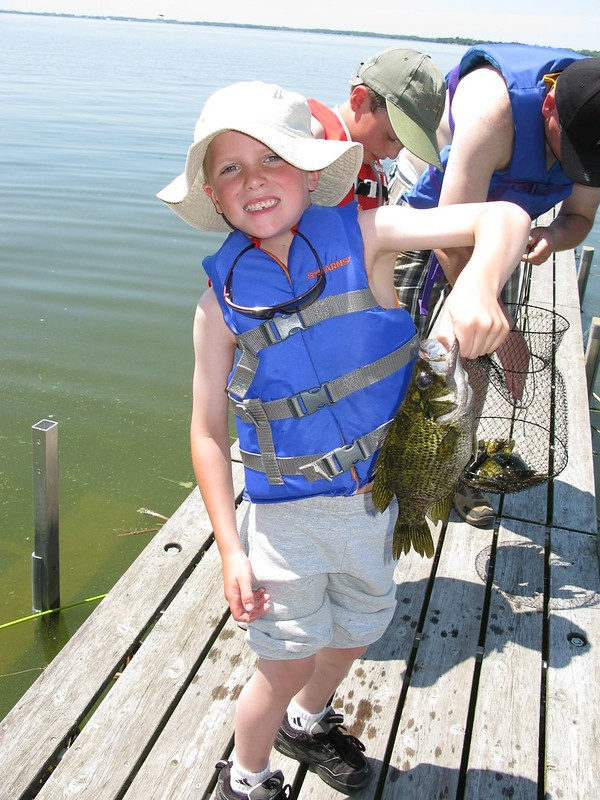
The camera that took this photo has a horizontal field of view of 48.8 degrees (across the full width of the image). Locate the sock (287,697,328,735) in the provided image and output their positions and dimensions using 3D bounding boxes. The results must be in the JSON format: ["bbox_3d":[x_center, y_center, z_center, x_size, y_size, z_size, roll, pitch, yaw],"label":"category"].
[{"bbox_3d":[0.017,1.002,2.135,0.118,0.091,0.130,-4,31,3],"label":"sock"}]

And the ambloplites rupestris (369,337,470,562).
[{"bbox_3d":[0.312,0.155,1.598,0.266,0.498,0.137,9,15,0],"label":"ambloplites rupestris"}]

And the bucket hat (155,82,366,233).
[{"bbox_3d":[-0.122,-0.628,1.738,0.555,0.375,0.511,-2,19,10],"label":"bucket hat"}]

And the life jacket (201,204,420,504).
[{"bbox_3d":[0.135,-0.115,1.779,0.585,0.723,0.443,-14,1,27],"label":"life jacket"}]

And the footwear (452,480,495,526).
[{"bbox_3d":[0.802,0.486,3.196,0.137,0.114,0.301,-9,21,-15],"label":"footwear"}]
